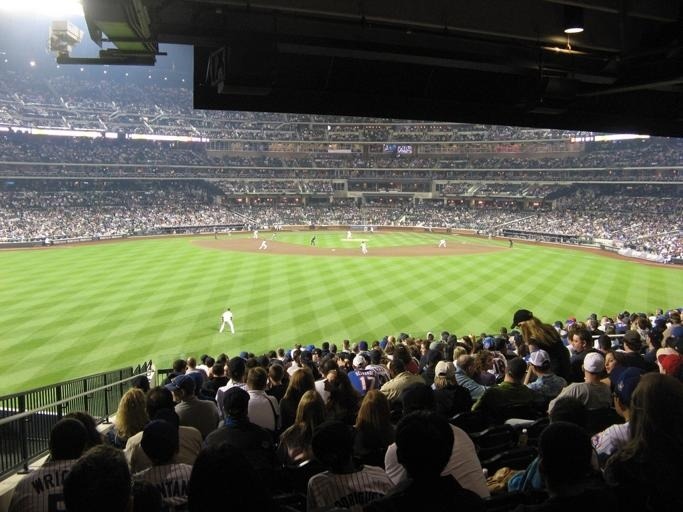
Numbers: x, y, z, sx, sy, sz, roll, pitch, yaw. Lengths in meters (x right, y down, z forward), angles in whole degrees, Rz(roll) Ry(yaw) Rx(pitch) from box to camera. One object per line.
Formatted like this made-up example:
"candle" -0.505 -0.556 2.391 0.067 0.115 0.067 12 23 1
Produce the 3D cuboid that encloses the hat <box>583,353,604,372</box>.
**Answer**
"hat" 3.897 1.591 8.023 0.258 0.182 0.347 -4 30 12

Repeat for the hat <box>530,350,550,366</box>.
"hat" 3.360 1.737 8.790 0.268 0.249 0.250 -1 0 9

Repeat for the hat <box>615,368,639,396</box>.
"hat" 3.522 1.560 6.365 0.265 0.322 0.674 -1 0 29

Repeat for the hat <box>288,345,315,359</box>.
"hat" -1.124 2.532 14.049 0.631 0.325 0.945 -1 2 -16

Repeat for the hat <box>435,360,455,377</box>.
"hat" 1.663 1.819 8.325 0.353 0.162 0.484 2 13 16
